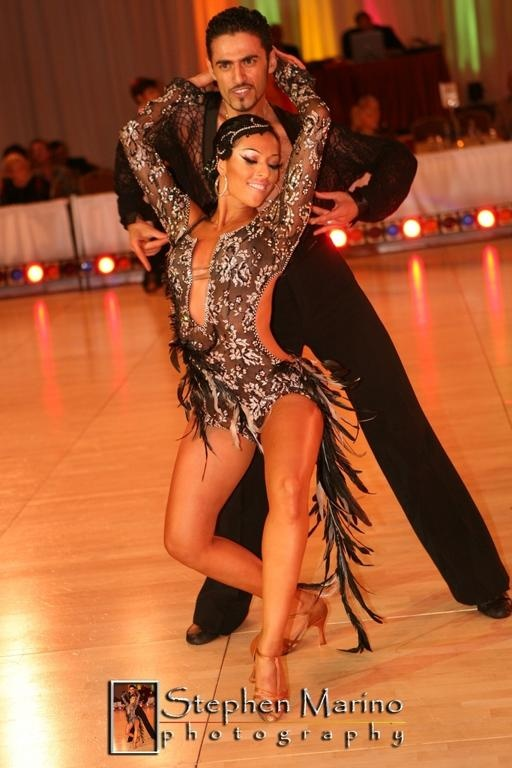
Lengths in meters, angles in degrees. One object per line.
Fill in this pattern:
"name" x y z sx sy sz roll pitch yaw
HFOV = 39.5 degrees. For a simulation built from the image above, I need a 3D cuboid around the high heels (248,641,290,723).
"high heels" 0.029 0.657 1.604 0.077 0.177 0.077 -1 4 -1
